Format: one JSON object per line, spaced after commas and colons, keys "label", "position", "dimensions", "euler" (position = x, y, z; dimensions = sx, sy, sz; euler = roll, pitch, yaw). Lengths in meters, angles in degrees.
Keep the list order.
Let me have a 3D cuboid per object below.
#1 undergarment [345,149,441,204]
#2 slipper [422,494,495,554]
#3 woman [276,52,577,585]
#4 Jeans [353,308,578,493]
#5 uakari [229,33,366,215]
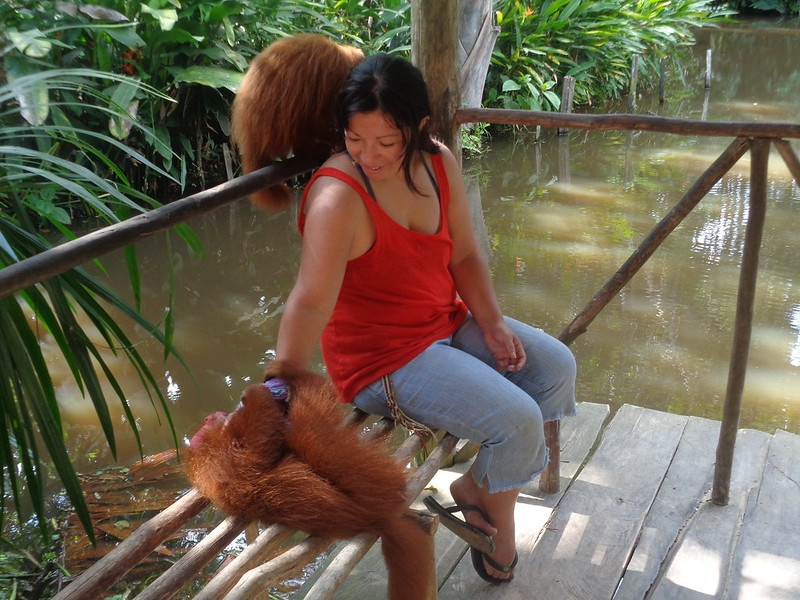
{"label": "undergarment", "position": [-0.006, -0.342, 1.776], "dimensions": [0.291, 0.148, 0.139], "euler": [-12, 26, -32]}
{"label": "slipper", "position": [0.175, 0.630, 1.868], "dimensions": [0.229, 0.105, 0.096], "euler": [21, 18, 30]}
{"label": "woman", "position": [0.110, 0.112, 1.806], "dimensions": [0.764, 1.515, 0.913], "euler": [0, 28, 9]}
{"label": "Jeans", "position": [0.177, 0.290, 1.873], "dimensions": [0.606, 0.214, 0.417], "euler": [23, 58, 18]}
{"label": "uakari", "position": [-0.289, -0.560, 1.790], "dimensions": [0.334, 0.424, 0.713], "euler": [11, 25, 20]}
